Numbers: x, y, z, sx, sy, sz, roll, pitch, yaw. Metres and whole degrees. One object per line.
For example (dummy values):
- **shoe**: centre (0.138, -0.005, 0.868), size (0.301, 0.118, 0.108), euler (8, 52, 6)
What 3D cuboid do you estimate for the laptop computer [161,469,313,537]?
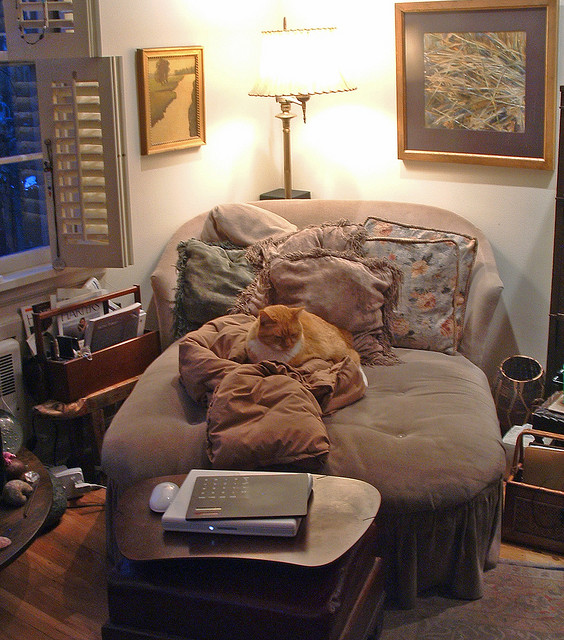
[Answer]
- **laptop computer**: centre (-0.079, 0.338, 1.067), size (0.244, 0.025, 0.178), euler (1, 14, 6)

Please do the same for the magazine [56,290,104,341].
- **magazine**: centre (-0.806, -0.013, 2.355), size (0.167, 0.194, 0.085), euler (-17, 32, -41)

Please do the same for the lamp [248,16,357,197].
- **lamp**: centre (0.128, -1.048, 3.114), size (0.720, 0.883, 0.675), euler (9, 33, 16)

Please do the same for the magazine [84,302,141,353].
- **magazine**: centre (-0.692, 0.032, 2.377), size (0.031, 0.128, 0.230), euler (36, 32, 22)

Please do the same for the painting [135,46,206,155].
- **painting**: centre (-0.518, -1.058, 2.779), size (0.119, 0.506, 0.412), euler (1, 15, 32)

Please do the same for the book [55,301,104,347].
- **book**: centre (-0.803, 0.018, 2.310), size (0.164, 0.137, 0.021), euler (-25, 28, -31)

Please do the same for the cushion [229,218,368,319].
- **cushion**: centre (0.079, -0.303, 2.500), size (0.653, 0.423, 0.426), euler (4, 24, 16)

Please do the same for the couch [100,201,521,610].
- **couch**: centre (0.173, 0.138, 2.243), size (1.409, 0.793, 1.577), euler (2, 25, 1)

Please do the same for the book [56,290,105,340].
- **book**: centre (-0.808, -0.016, 2.353), size (0.166, 0.187, 0.087), euler (-18, 32, -42)

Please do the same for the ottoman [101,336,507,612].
- **ottoman**: centre (0.129, 0.407, 2.329), size (1.681, 0.550, 1.144), euler (1, 18, 6)

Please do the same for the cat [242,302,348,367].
- **cat**: centre (0.042, 0.032, 2.042), size (0.234, 0.135, 0.307), euler (1, 9, 7)

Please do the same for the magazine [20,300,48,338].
- **magazine**: centre (-0.970, -0.001, 2.291), size (0.021, 0.140, 0.133), euler (3, 17, 23)

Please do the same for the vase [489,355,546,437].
- **vase**: centre (0.999, 0.329, 2.474), size (0.252, 0.257, 0.240), euler (12, 47, 12)
